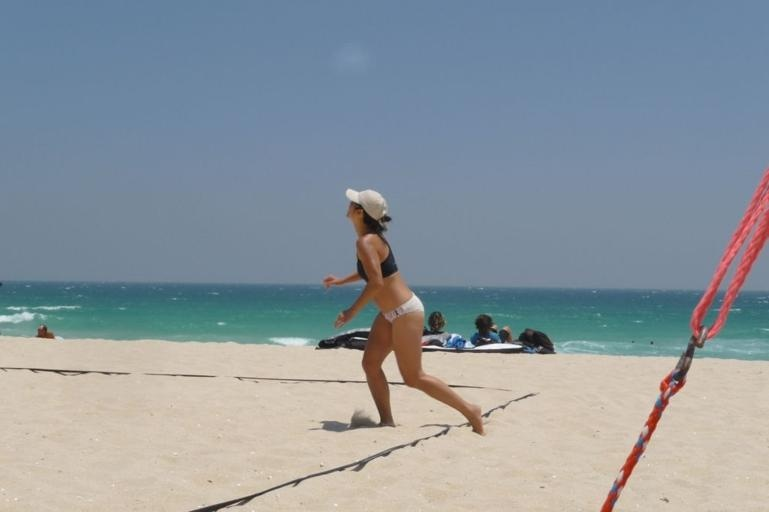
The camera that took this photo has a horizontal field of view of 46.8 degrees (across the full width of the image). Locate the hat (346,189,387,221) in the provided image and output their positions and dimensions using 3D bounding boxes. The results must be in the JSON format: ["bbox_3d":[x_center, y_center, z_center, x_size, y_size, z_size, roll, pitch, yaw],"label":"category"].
[{"bbox_3d":[-0.094,-0.621,10.306,0.342,0.253,0.506,-9,25,-31],"label":"hat"}]
